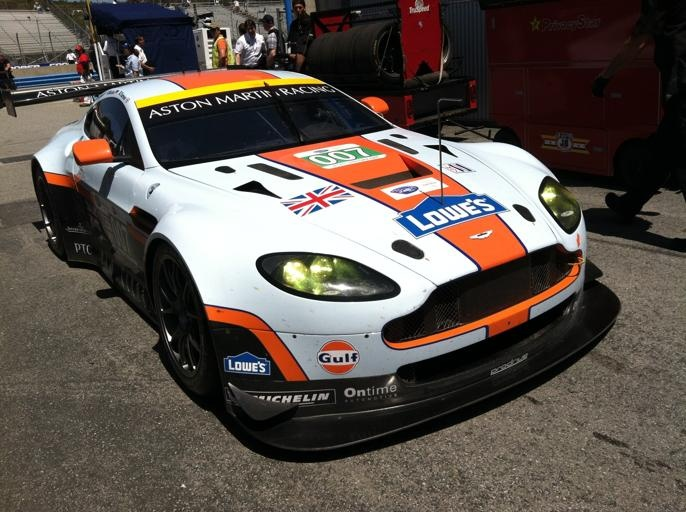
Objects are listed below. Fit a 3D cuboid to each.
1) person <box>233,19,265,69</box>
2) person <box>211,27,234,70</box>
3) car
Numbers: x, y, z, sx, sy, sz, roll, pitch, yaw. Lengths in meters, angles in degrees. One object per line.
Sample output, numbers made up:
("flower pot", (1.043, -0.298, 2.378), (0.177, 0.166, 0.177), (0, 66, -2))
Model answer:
("person", (-2.101, -4.918, 11.340), (0.627, 0.983, 0.852), (-21, 34, -34))
("person", (-2.985, -5.113, 11.984), (0.513, 0.908, 1.110), (-7, 28, -12))
("car", (-0.588, -0.350, 3.492), (2.310, 1.128, 3.693), (-22, 34, -28))
